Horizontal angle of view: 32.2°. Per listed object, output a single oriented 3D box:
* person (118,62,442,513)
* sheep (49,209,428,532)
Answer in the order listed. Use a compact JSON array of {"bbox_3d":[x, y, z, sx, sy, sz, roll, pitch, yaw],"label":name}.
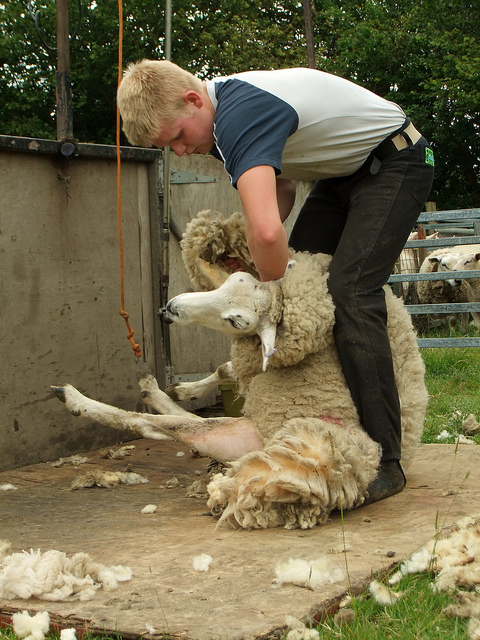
[{"bbox_3d":[0.183,-0.114,2.852,0.644,1.468,0.879,5,9,44],"label":"person"},{"bbox_3d":[0.019,0.163,2.983,1.450,1.146,0.583,-6,-39,3],"label":"sheep"}]
